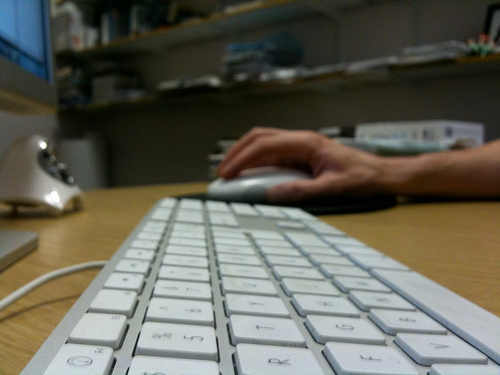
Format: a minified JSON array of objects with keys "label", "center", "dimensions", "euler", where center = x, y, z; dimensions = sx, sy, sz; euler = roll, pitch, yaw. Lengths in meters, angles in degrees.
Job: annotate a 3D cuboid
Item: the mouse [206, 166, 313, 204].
[{"label":"mouse","center":[0.009,0.002,0.560],"dimensions":[0.137,0.034,0.070],"euler":[3,3,-5]}]
